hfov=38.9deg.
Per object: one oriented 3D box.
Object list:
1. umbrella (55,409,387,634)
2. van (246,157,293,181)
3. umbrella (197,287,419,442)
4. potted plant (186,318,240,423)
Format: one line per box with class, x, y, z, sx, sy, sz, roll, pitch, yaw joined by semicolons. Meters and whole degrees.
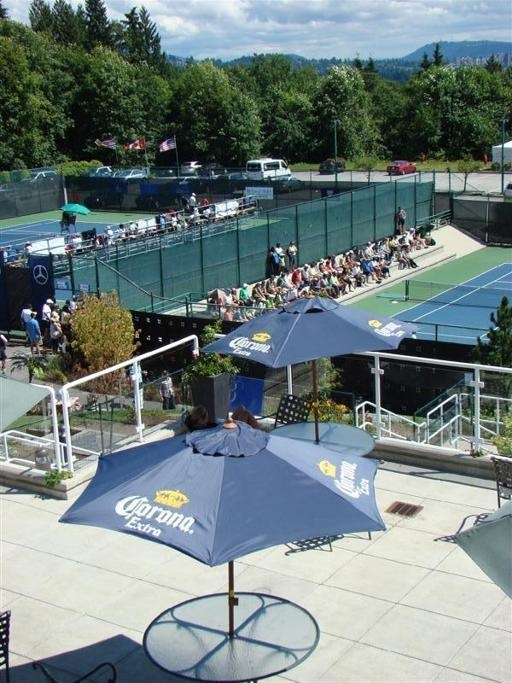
umbrella;-0.091;0.903;4.597;1.683;1.040;1.614;-23;34;-34
van;0.782;-12.978;54.275;3.308;1.572;3.825;-3;12;1
umbrella;0.707;0.375;8.691;2.759;1.743;2.554;-6;4;-16
potted plant;-0.704;0.566;11.599;0.542;1.036;0.632;-12;-8;18
